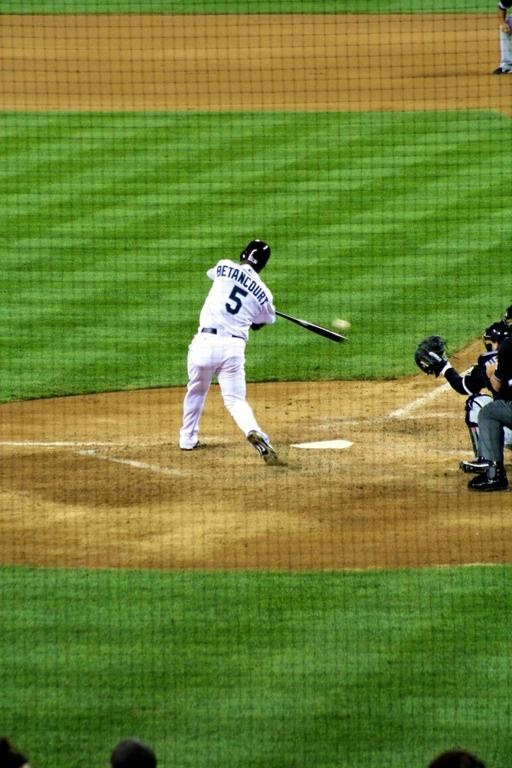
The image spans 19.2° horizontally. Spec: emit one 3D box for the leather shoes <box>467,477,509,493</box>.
[{"bbox_3d":[1.803,0.782,11.699,0.344,0.136,0.121,3,-2,-1],"label":"leather shoes"}]

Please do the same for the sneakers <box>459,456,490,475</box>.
[{"bbox_3d":[1.734,0.649,11.992,0.227,0.096,0.112,0,29,39],"label":"sneakers"}]

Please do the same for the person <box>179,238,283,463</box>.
[{"bbox_3d":[-0.270,-0.224,12.302,0.906,1.833,0.587,-8,-4,17],"label":"person"}]

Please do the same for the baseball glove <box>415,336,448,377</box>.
[{"bbox_3d":[1.401,-0.248,12.133,0.253,0.288,0.334,-1,22,-3],"label":"baseball glove"}]

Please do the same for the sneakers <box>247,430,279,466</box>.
[{"bbox_3d":[0.068,0.524,12.119,0.189,0.265,0.470,-7,-4,7],"label":"sneakers"}]
